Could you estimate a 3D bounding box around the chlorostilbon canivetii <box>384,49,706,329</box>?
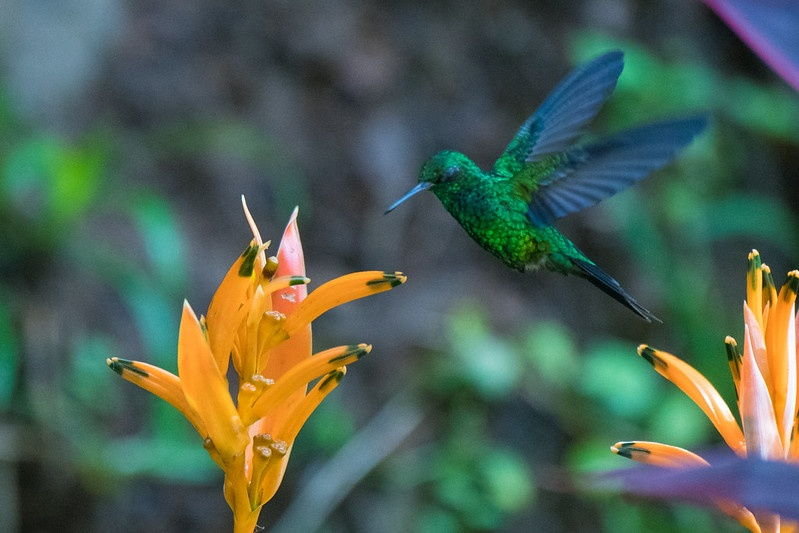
[{"bbox_3d":[0.179,-0.099,1.409,0.343,0.170,0.357,7,12,5],"label":"chlorostilbon canivetii"}]
